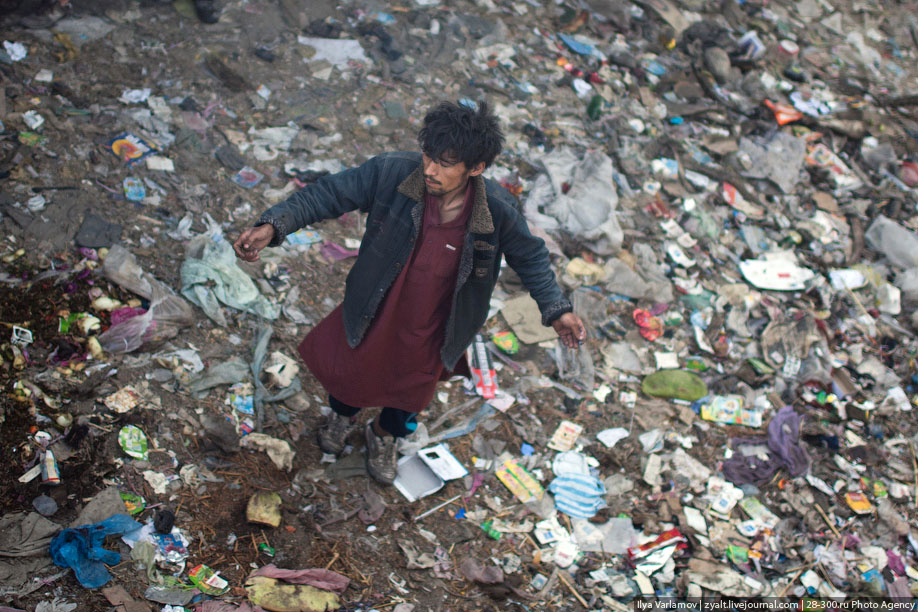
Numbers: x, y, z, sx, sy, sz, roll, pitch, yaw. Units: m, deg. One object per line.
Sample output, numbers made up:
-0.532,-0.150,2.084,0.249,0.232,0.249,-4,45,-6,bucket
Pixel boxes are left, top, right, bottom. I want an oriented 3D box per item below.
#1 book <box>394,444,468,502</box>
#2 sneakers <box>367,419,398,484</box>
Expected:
-0.227,1.267,7.152,0.469,0.126,0.331,-28,70,-23,book
-0.572,1.123,7.197,0.254,0.221,0.548,10,27,-17,sneakers
